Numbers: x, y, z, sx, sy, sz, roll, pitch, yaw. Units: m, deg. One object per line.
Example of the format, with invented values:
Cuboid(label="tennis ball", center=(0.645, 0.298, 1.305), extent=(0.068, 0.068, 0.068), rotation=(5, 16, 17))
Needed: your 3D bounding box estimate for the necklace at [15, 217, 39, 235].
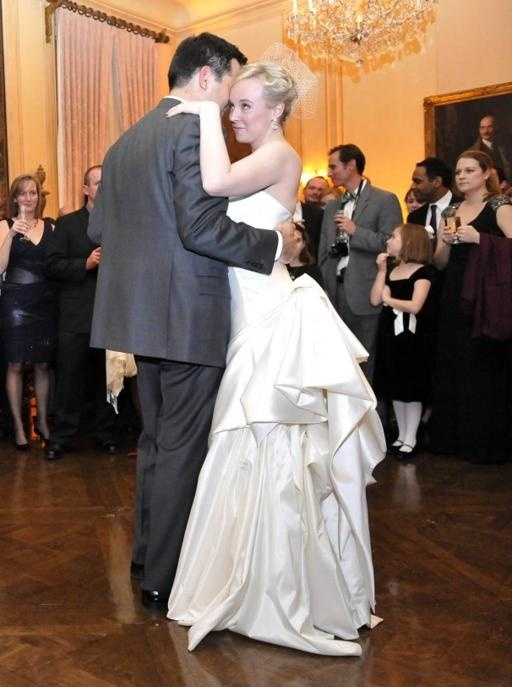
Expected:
Cuboid(label="necklace", center=(-1.516, -0.778, 3.991), extent=(0.103, 0.128, 0.125), rotation=(-6, 56, -7))

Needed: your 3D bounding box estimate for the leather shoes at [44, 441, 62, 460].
Cuboid(label="leather shoes", center=(-1.246, 0.665, 3.741), extent=(0.096, 0.095, 0.129), rotation=(0, 2, -15))

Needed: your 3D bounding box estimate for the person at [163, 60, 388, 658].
Cuboid(label="person", center=(0.055, -0.028, 1.597), extent=(0.566, 1.549, 0.479), rotation=(1, 2, 11))

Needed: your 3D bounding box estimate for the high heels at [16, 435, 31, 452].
Cuboid(label="high heels", center=(-1.517, 0.672, 3.945), extent=(0.082, 0.066, 0.073), rotation=(0, 2, -16))

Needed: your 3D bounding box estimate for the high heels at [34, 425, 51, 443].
Cuboid(label="high heels", center=(-1.471, 0.634, 4.175), extent=(0.041, 0.116, 0.034), rotation=(1, 18, 42))
